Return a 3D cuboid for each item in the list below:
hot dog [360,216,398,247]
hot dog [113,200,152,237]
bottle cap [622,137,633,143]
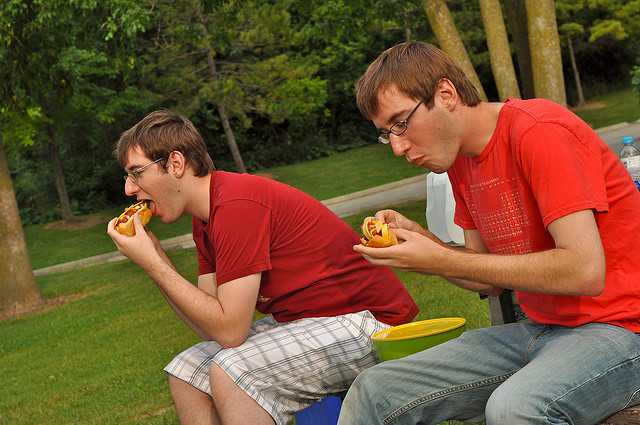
[{"bbox_3d":[0.333,0.117,2.966,0.143,0.081,0.175,-31,52,-21],"label":"hot dog"},{"bbox_3d":[-1.345,0.057,3.605,0.285,0.101,0.216,-43,28,-3],"label":"hot dog"},{"bbox_3d":[2.470,-0.573,4.007,0.057,0.033,0.057,-6,0,4],"label":"bottle cap"}]
